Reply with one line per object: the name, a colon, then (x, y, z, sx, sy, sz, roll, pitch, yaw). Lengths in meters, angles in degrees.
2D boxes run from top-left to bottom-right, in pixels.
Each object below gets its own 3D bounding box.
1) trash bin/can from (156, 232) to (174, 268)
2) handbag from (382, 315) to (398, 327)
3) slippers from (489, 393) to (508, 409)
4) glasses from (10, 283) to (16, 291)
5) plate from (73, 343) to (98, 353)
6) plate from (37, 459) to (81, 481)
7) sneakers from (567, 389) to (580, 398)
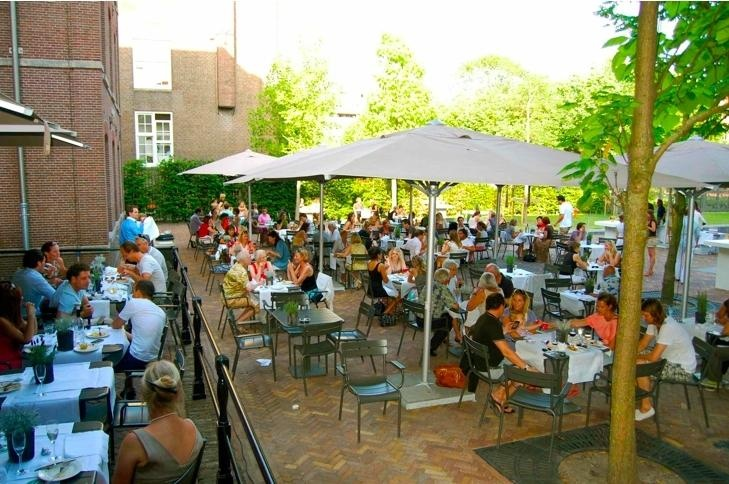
trash bin/can: (-5.584, 0.206, 16.944, 0.383, 0.949, 1.088, 0, 2, -16)
handbag: (0.538, 1.790, 13.825, 0.315, 0.219, 0.236, -1, 3, 2)
slippers: (2.146, 2.637, 9.762, 0.157, 0.161, 0.432, -7, 12, -15)
glasses: (-5.221, 0.649, 9.030, 0.057, 0.074, 0.159, -4, 6, -30)
plate: (-4.250, 1.620, 9.249, 0.339, 0.107, 0.251, -3, 6, -15)
plate: (-3.452, 2.630, 6.873, 0.428, 0.157, 0.264, -4, 6, -27)
sneakers: (3.594, 2.627, 10.506, 0.188, 0.100, 0.271, -7, 0, 11)
